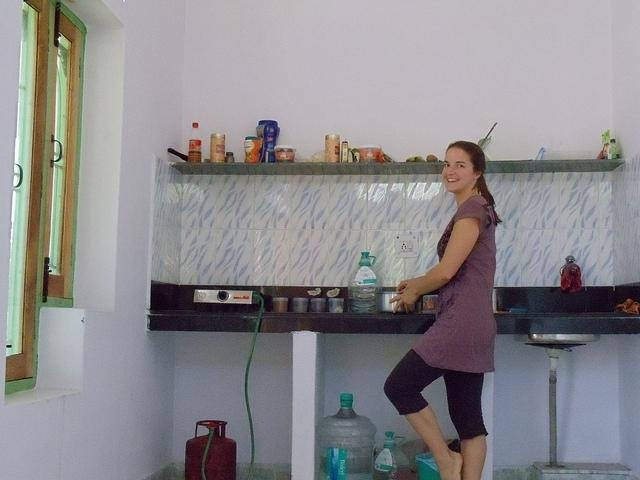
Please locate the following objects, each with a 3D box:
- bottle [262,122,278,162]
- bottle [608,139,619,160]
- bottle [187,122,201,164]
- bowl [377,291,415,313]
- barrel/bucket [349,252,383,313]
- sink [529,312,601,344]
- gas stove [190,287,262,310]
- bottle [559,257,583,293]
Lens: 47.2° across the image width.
[{"bbox_3d":[-0.305,-0.582,4.434,0.098,0.270,0.191,1,-4,-4],"label":"bottle"},{"bbox_3d":[1.719,-0.535,4.296,0.055,0.135,0.116,-2,-5,29],"label":"bottle"},{"bbox_3d":[-0.768,-0.599,4.470,0.086,0.298,0.205,1,-4,-10],"label":"bottle"},{"bbox_3d":[0.385,0.332,3.924,0.114,0.092,0.118,1,-10,0],"label":"bowl"},{"bbox_3d":[0.253,0.244,4.263,0.173,0.346,0.207,0,-4,2],"label":"barrel/bucket"},{"bbox_3d":[1.265,0.480,3.828,0.353,0.159,0.273,-1,-5,17],"label":"sink"},{"bbox_3d":[-0.543,0.337,4.251,0.357,0.097,0.349,0,-4,-4],"label":"gas stove"},{"bbox_3d":[1.470,0.206,4.318,0.114,0.213,0.066,-2,-5,26],"label":"bottle"}]
